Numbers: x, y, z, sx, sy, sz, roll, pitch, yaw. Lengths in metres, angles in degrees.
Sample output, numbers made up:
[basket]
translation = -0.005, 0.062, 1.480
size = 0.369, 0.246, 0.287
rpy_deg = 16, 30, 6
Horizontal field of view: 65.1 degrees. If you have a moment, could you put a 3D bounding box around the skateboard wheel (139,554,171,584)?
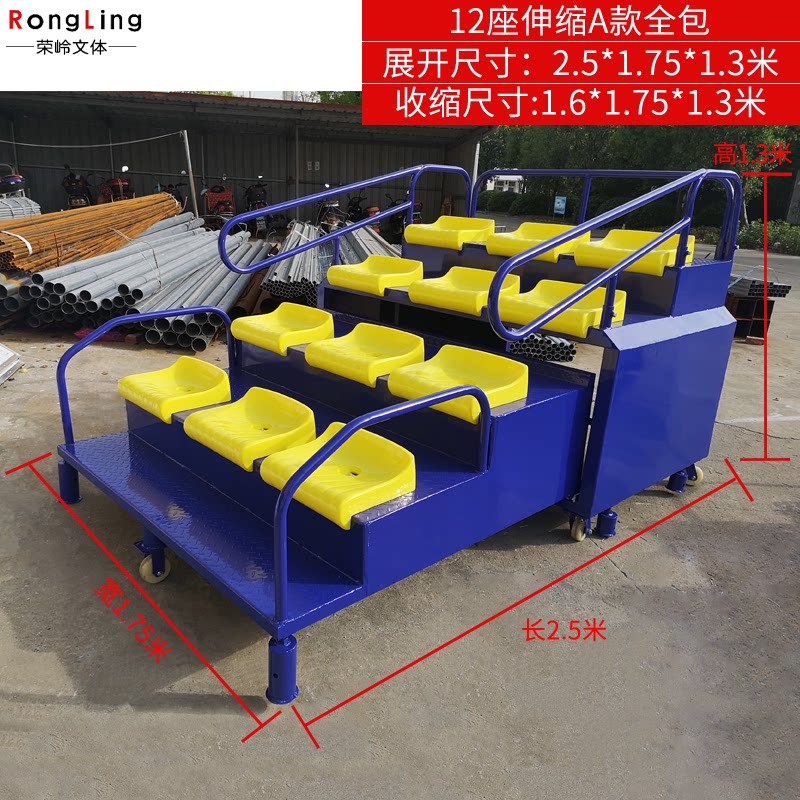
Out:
[skateboard wheel]
translation = -1.088, 0.738, 2.762
size = 0.136, 0.142, 0.091
rpy_deg = -10, 27, -20

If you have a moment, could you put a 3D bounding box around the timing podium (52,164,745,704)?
[timing podium]
translation = -0.110, -0.256, 3.446
size = 3.321, 1.494, 2.311
rpy_deg = -20, 33, -23
